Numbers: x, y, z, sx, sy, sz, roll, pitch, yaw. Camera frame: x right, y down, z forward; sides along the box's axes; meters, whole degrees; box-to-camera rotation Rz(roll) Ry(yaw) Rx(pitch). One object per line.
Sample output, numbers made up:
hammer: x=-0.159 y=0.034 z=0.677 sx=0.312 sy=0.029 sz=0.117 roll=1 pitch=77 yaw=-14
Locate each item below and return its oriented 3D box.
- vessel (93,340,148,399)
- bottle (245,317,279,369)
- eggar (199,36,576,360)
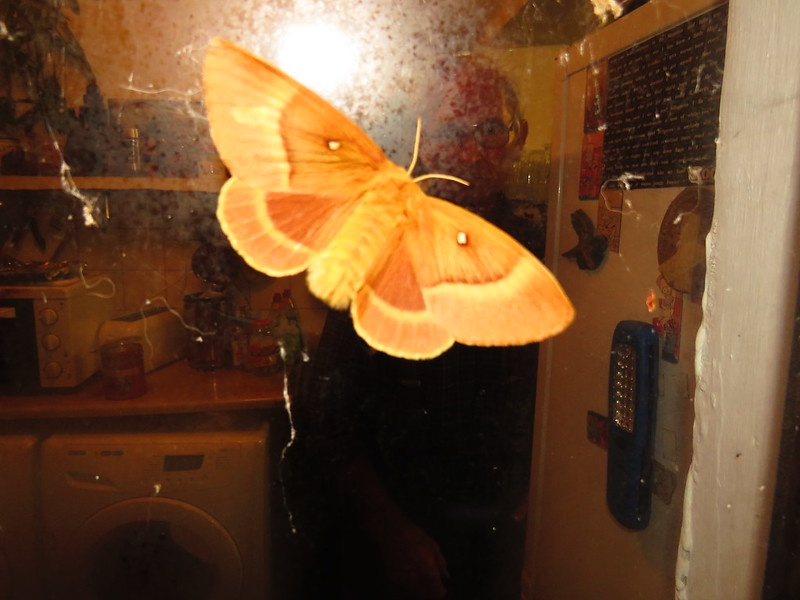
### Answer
vessel: x=-0.520 y=0.131 z=1.321 sx=0.092 sy=0.115 sz=0.099 roll=0 pitch=9 yaw=0
bottle: x=-0.264 y=0.063 z=1.321 sx=0.059 sy=0.022 sz=0.109 roll=-17 pitch=29 yaw=5
eggar: x=-0.079 y=-0.150 z=1.357 sx=0.398 sy=0.110 sz=0.836 roll=-34 pitch=-27 yaw=17
